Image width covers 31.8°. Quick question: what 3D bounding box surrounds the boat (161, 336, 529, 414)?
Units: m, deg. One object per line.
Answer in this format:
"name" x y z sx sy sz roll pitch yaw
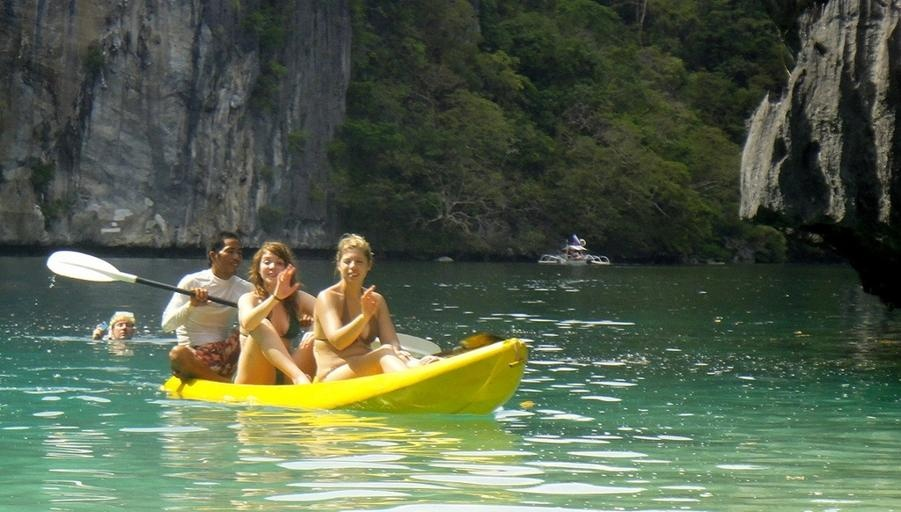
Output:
"boat" -2.553 4.820 52.670 11.586 1.877 3.509 -2 1 19

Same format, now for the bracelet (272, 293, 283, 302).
"bracelet" -5.722 1.364 52.772 0.237 0.163 0.251 -10 25 -35
